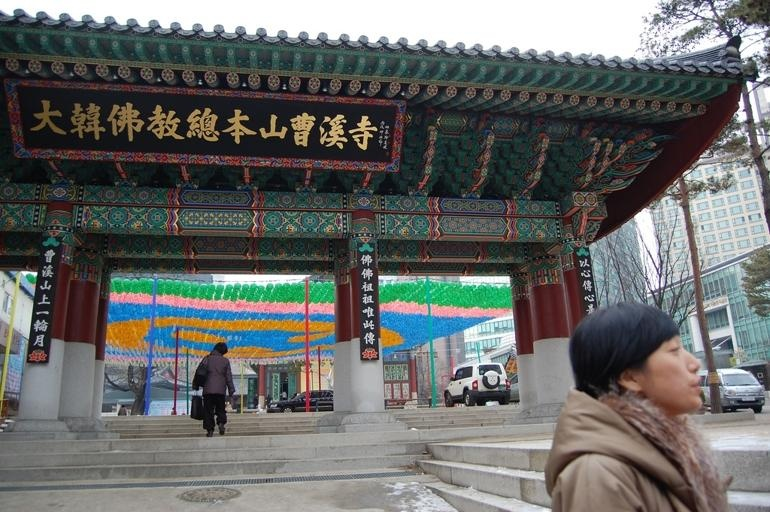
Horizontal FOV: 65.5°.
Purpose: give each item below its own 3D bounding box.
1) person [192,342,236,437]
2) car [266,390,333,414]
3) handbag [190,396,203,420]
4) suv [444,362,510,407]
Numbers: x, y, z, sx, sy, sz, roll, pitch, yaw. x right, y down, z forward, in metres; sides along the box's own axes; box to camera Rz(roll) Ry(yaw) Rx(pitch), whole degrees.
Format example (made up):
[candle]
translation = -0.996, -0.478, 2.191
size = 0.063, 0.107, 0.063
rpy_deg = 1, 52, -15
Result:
[person]
translation = -3.688, 2.906, 12.936
size = 0.817, 2.048, 1.356
rpy_deg = -1, -4, -16
[car]
translation = -3.954, 7.048, 29.010
size = 2.663, 0.993, 1.751
rpy_deg = -2, -4, 1
[handbag]
translation = -3.961, 3.209, 12.711
size = 0.228, 0.498, 0.252
rpy_deg = 0, -4, -30
[suv]
translation = 3.644, 5.148, 24.068
size = 1.544, 1.243, 2.751
rpy_deg = 6, -16, -18
